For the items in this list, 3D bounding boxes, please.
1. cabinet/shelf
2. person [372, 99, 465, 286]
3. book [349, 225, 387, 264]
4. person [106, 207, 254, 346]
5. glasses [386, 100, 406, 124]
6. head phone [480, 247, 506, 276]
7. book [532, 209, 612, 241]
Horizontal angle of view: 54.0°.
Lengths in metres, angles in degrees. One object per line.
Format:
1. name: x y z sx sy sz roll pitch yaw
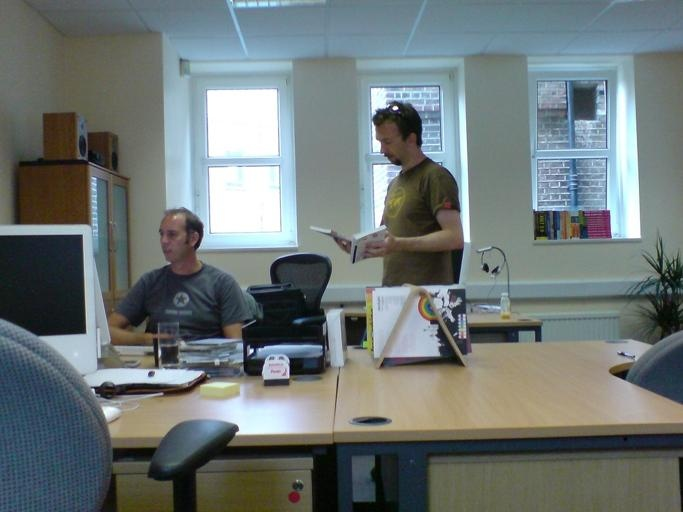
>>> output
1. cabinet/shelf: -1.424 -0.119 3.543 0.374 0.972 1.004 0 -1 1
2. person: 0.377 -0.330 3.362 0.429 0.953 0.574 -1 1 2
3. book: 0.131 -0.054 3.066 0.172 0.163 0.159 -1 1 -8
4. person: -0.859 0.220 3.545 0.730 0.955 0.530 -1 -2 9
5. glasses: 0.292 -0.751 3.478 0.113 0.121 0.037 4 30 11
6. head phone: 1.191 0.044 5.280 0.196 0.269 0.093 2 9 23
7. book: 1.907 -0.248 5.552 0.647 0.245 0.184 -1 1 -20
